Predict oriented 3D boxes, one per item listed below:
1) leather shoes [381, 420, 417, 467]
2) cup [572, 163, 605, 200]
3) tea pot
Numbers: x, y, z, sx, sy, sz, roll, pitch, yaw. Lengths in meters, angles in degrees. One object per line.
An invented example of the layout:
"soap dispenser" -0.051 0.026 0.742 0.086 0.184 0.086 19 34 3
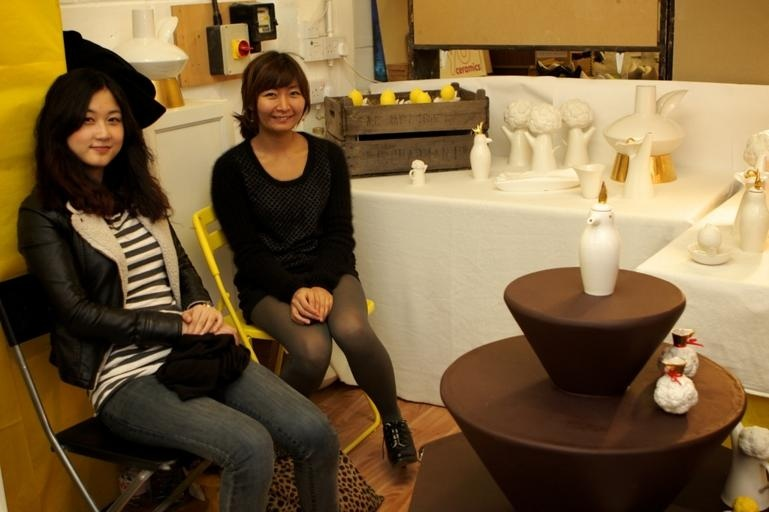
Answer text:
"leather shoes" 0.054 0.818 2.423 0.095 0.111 0.241 -19 14 -6
"cup" 0.949 -0.357 2.557 0.118 0.150 0.192 7 20 22
"tea pot" 0.558 -0.018 1.421 0.098 0.220 0.124 7 20 22
